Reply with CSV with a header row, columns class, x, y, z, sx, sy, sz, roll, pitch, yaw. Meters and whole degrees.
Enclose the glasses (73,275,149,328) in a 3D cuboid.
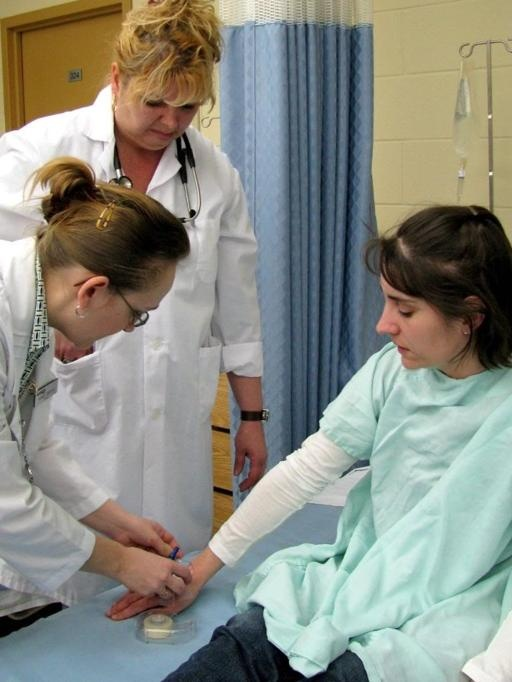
class,x,y,z,sx,sy,sz,roll,pitch,yaw
glasses,-0.204,-0.072,0.894,0.112,0.030,0.086,1,25,14
